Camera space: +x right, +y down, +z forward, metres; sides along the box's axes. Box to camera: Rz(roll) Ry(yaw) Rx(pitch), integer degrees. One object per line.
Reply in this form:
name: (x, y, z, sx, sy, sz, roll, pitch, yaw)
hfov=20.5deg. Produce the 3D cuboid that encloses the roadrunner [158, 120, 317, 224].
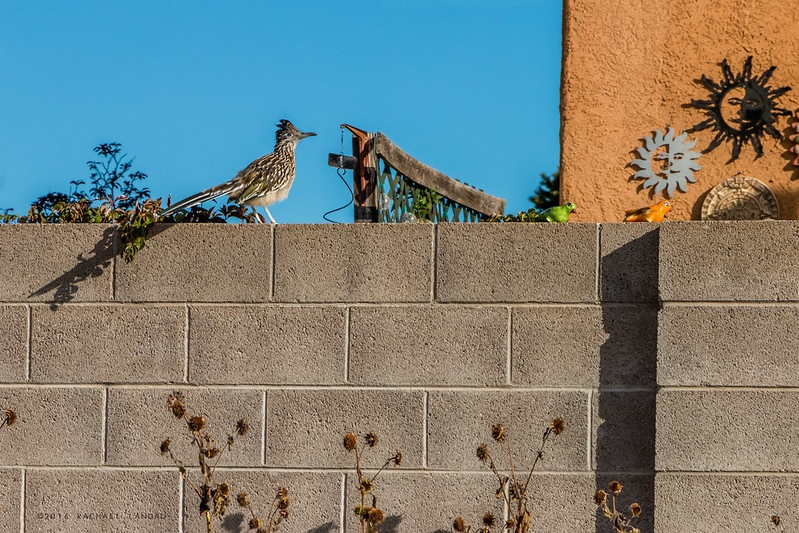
roadrunner: (-1.189, -0.668, 16.521, 1.234, 0.815, 0.312, -7, 17, -21)
